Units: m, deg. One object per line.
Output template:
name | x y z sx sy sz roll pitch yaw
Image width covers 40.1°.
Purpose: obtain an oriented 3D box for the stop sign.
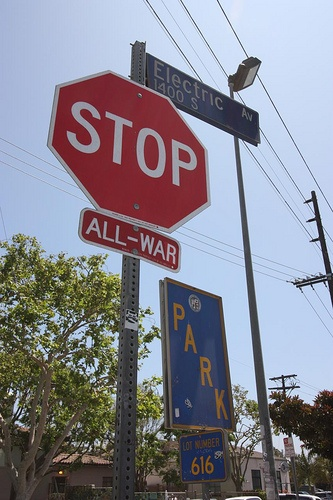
stop sign | -0.184 -0.496 2.360 0.852 0.806 0.030 31 -44 -31
